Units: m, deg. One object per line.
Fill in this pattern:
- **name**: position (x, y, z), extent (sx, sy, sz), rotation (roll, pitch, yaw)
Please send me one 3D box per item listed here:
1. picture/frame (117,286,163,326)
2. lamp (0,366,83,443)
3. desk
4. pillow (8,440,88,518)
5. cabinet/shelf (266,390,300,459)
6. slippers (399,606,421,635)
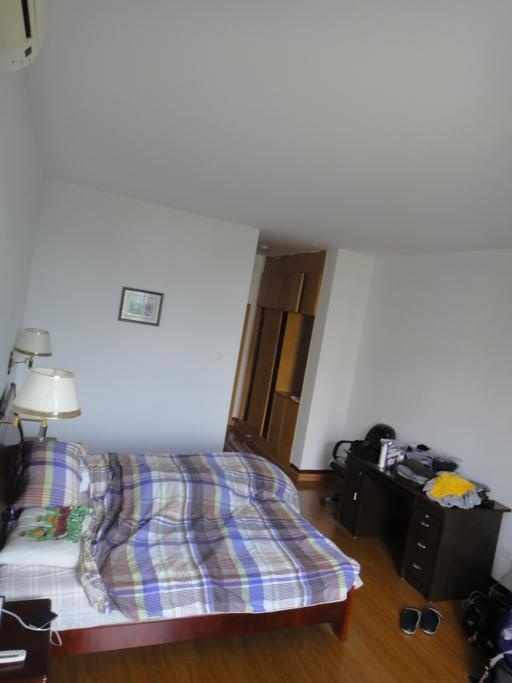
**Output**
- **picture/frame**: position (-1.123, -0.344, 4.311), extent (0.371, 0.335, 0.028), rotation (5, 9, -27)
- **lamp**: position (-1.007, 0.312, 2.141), extent (0.267, 0.425, 0.557), rotation (9, 6, -28)
- **desk**: position (1.239, 1.069, 3.367), extent (0.653, 0.802, 1.542), rotation (5, 10, -15)
- **pillow**: position (-1.124, 0.693, 2.453), extent (0.293, 0.142, 0.495), rotation (2, 25, -28)
- **cabinet/shelf**: position (0.349, 1.013, 5.495), extent (0.255, 0.654, 0.718), rotation (10, -13, -9)
- **slippers**: position (0.934, 1.660, 2.740), extent (0.122, 0.035, 0.278), rotation (14, 6, 24)
